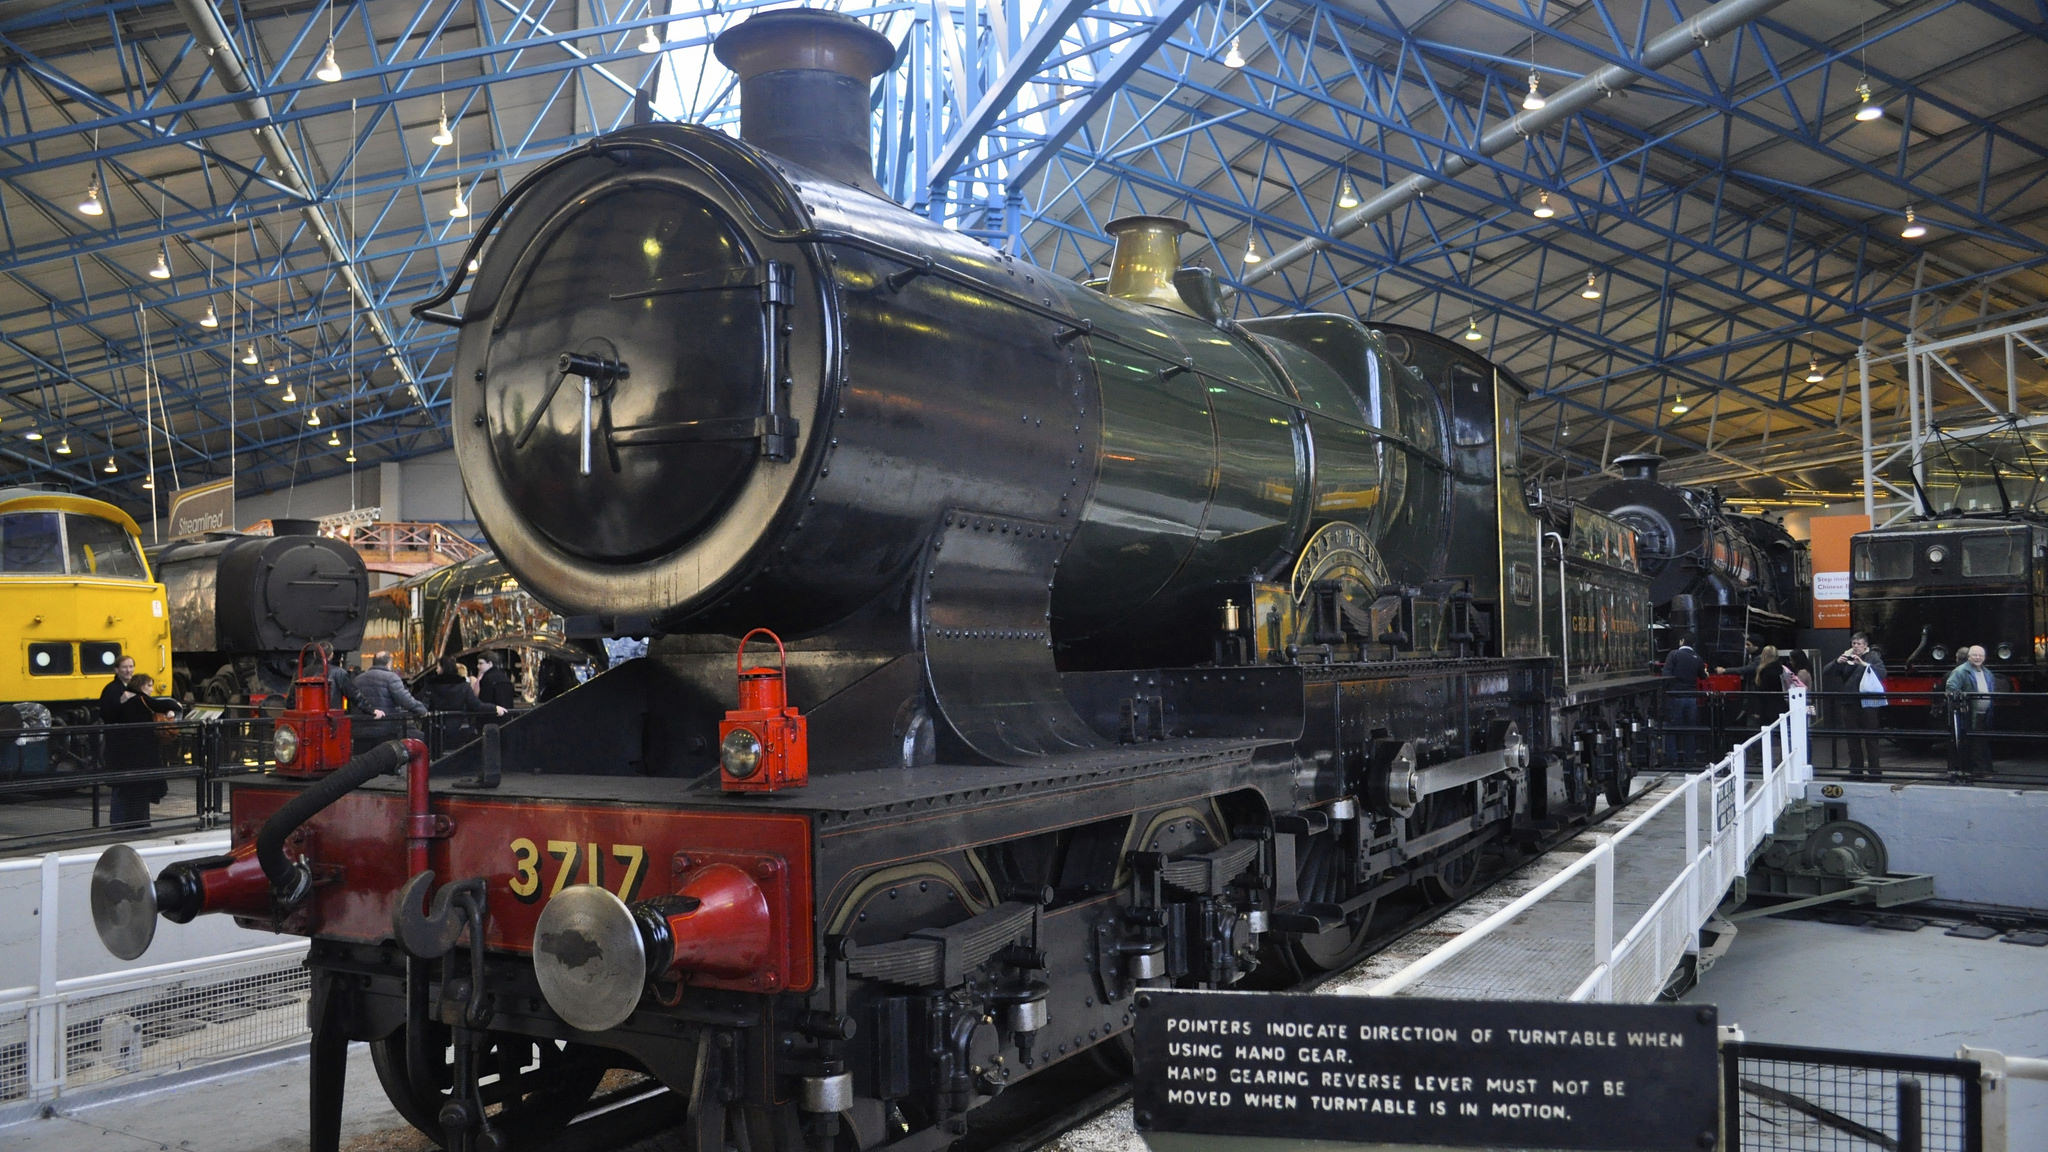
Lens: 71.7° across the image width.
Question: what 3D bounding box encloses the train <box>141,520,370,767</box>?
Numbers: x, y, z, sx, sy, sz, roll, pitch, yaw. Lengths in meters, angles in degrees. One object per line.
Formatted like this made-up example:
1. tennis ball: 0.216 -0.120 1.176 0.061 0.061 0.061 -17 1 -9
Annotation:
1. train: -16.311 1.002 28.363 7.436 3.516 2.460 -3 -2 35
